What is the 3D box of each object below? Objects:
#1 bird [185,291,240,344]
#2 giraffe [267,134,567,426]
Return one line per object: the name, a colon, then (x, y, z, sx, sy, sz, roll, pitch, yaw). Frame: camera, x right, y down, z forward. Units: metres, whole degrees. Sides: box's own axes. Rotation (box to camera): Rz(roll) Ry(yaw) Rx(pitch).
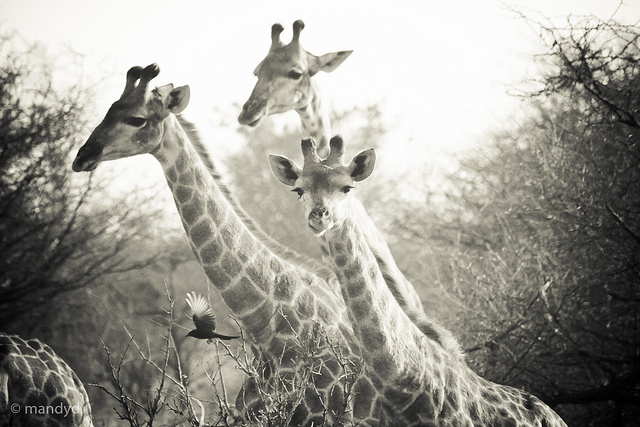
bird: (-1.069, 1.059, 8.136, 0.442, 0.348, 0.638, -11, -54, -12)
giraffe: (0.841, 0.814, 8.429, 1.048, 3.045, 2.235, -27, -29, 24)
